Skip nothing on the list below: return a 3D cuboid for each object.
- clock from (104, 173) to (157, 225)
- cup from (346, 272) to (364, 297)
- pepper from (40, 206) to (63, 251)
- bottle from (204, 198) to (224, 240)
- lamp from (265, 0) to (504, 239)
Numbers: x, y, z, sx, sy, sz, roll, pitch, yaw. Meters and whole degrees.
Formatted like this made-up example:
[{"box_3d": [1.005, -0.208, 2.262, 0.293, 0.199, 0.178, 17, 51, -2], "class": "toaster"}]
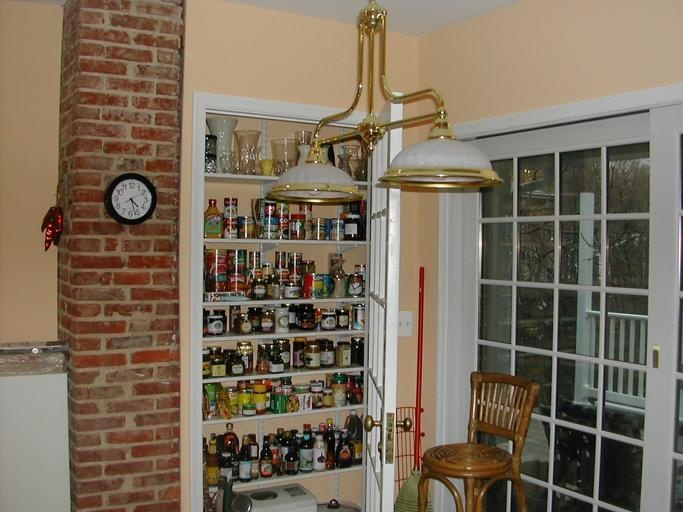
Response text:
[{"box_3d": [-1.149, -0.297, 3.421, 0.248, 0.306, 0.025, 2, -16, -23], "class": "clock"}, {"box_3d": [0.083, 0.182, 3.937, 0.110, 0.140, 0.117, 2, 3, 0], "class": "cup"}, {"box_3d": [-1.653, -0.140, 3.591, 0.152, 0.270, 0.058, 15, 9, 40], "class": "pepper"}, {"box_3d": [-0.759, -0.214, 3.694, 0.132, 0.232, 0.138, -1, -1, 0], "class": "bottle"}, {"box_3d": [0.221, -0.765, 3.428, 1.214, 1.088, 0.484, -4, -5, 43], "class": "lamp"}]
